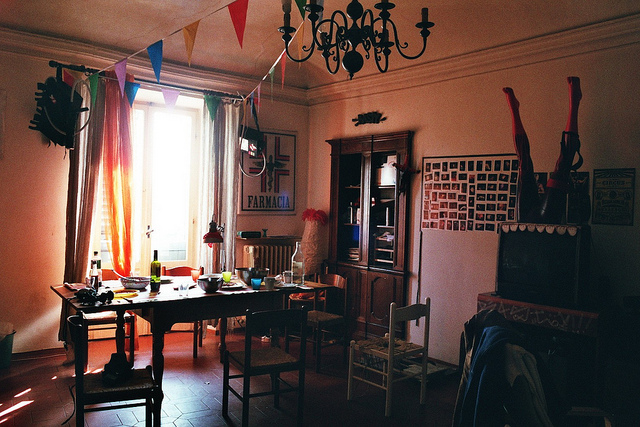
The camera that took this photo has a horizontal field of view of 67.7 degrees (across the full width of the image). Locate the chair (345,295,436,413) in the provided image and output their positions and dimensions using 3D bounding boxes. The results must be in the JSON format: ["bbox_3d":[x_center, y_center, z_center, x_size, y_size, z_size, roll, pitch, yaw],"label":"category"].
[{"bbox_3d":[0.712,1.393,4.946,0.753,1.041,0.730,4,-4,-25],"label":"chair"}]

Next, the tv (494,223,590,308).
[{"bbox_3d":[2.176,0.459,4.582,0.587,0.736,0.787,4,-1,-38],"label":"tv"}]

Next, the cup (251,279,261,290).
[{"bbox_3d":[-0.675,0.753,5.055,0.092,0.076,0.101,-1,2,-32],"label":"cup"}]

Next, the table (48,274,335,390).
[{"bbox_3d":[-1.420,1.246,4.970,2.273,1.075,1.072,0,0,-33],"label":"table"}]

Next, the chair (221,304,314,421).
[{"bbox_3d":[-0.523,1.362,4.955,0.889,1.086,1.919,0,0,-1],"label":"chair"}]

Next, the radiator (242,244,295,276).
[{"bbox_3d":[-0.685,0.644,6.571,0.674,0.445,0.560,5,6,45],"label":"radiator"}]

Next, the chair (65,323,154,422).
[{"bbox_3d":[-1.929,1.365,4.352,0.634,1.034,1.434,0,0,-27],"label":"chair"}]

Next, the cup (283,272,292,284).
[{"bbox_3d":[-0.369,0.719,5.333,0.112,0.115,0.109,2,3,0],"label":"cup"}]

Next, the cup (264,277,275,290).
[{"bbox_3d":[-0.551,0.744,5.040,0.111,0.118,0.111,0,-6,0],"label":"cup"}]

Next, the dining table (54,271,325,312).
[{"bbox_3d":[-1.494,0.719,4.970,2.208,0.281,0.947,0,0,-28],"label":"dining table"}]
